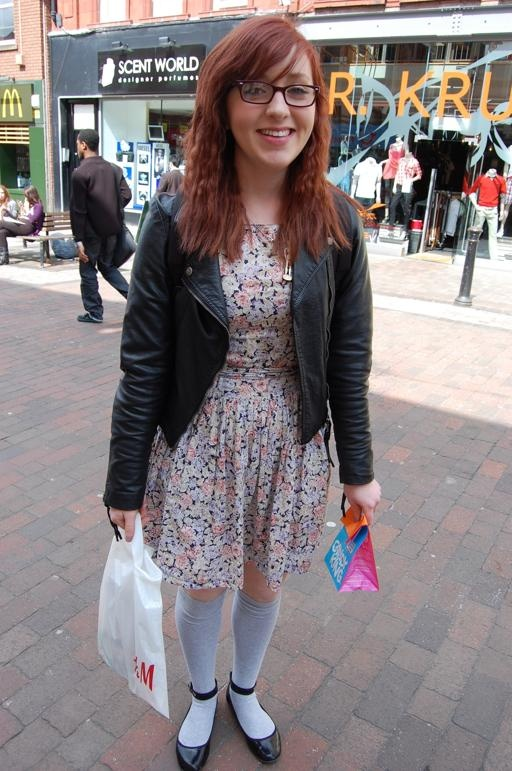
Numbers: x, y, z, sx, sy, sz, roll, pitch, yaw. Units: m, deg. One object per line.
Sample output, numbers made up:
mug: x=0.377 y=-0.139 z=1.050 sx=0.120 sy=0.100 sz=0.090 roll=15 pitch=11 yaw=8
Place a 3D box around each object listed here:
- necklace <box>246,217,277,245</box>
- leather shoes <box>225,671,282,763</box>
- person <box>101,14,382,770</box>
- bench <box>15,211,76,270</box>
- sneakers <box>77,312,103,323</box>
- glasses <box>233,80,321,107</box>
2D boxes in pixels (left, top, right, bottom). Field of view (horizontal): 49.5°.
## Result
necklace: x=0.016 y=-0.343 z=1.238 sx=0.055 sy=0.057 sz=0.018 roll=7 pitch=-8 yaw=-15
leather shoes: x=-0.002 y=1.006 z=1.754 sx=0.093 sy=0.113 sz=0.284 roll=-10 pitch=30 yaw=-27
person: x=-0.034 y=0.181 z=1.404 sx=0.679 sy=1.945 sz=0.316 roll=-4 pitch=18 yaw=-17
bench: x=-3.837 y=-2.927 z=10.925 sx=1.276 sy=0.830 sz=0.525 roll=11 pitch=33 yaw=41
sneakers: x=-2.078 y=-0.818 z=6.972 sx=0.307 sy=0.128 sz=0.138 roll=13 pitch=26 yaw=13
glasses: x=0.058 y=-0.598 z=1.143 sx=0.191 sy=0.050 sz=0.063 roll=-6 pitch=20 yaw=-22
